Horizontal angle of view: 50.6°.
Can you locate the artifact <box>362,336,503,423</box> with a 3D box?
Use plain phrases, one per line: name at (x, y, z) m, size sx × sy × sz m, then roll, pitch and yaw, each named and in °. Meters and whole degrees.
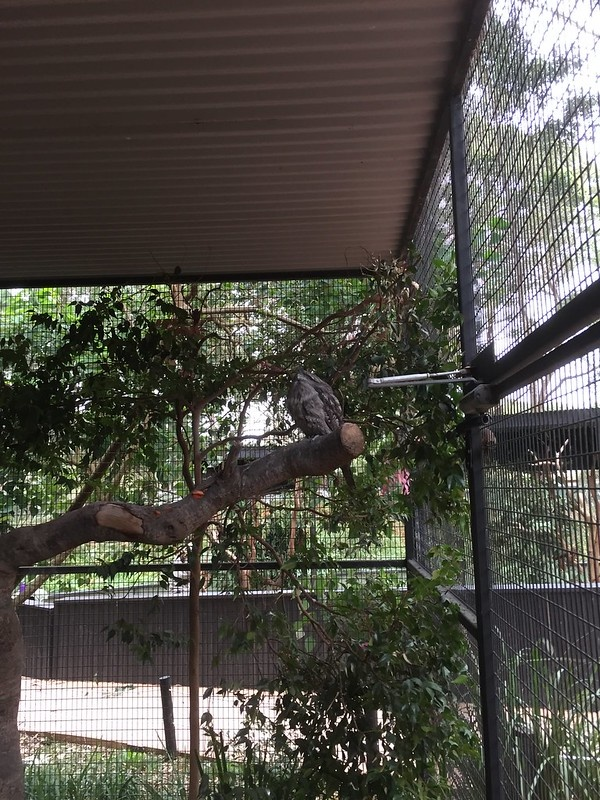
artifact at (0.283, -0.048, 1.387) m, size 0.257 × 0.141 × 0.125 m, roll 1°, pitch 76°, yaw -10°
